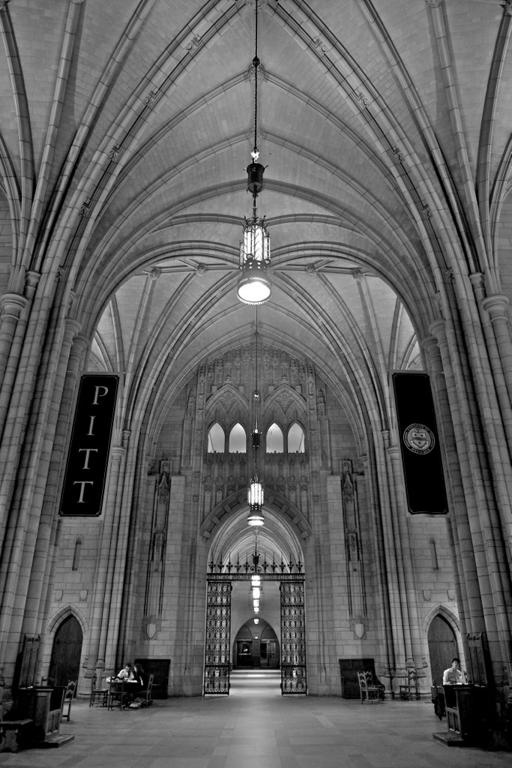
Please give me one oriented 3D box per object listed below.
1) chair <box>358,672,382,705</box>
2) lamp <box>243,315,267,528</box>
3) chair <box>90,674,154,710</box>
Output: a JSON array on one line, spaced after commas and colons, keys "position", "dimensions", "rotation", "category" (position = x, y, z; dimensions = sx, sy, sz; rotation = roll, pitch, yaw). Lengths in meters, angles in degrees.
[{"position": [3.014, 8.037, 13.422], "dimensions": [0.551, 0.667, 2.078], "rotation": [-5, -25, 11], "category": "chair"}, {"position": [-0.006, 1.540, 16.793], "dimensions": [0.618, 5.545, 0.610], "rotation": [0, -11, 2], "category": "lamp"}, {"position": [-3.159, 7.331, 11.983], "dimensions": [1.173, 0.652, 1.930], "rotation": [1, -25, -3], "category": "chair"}]
